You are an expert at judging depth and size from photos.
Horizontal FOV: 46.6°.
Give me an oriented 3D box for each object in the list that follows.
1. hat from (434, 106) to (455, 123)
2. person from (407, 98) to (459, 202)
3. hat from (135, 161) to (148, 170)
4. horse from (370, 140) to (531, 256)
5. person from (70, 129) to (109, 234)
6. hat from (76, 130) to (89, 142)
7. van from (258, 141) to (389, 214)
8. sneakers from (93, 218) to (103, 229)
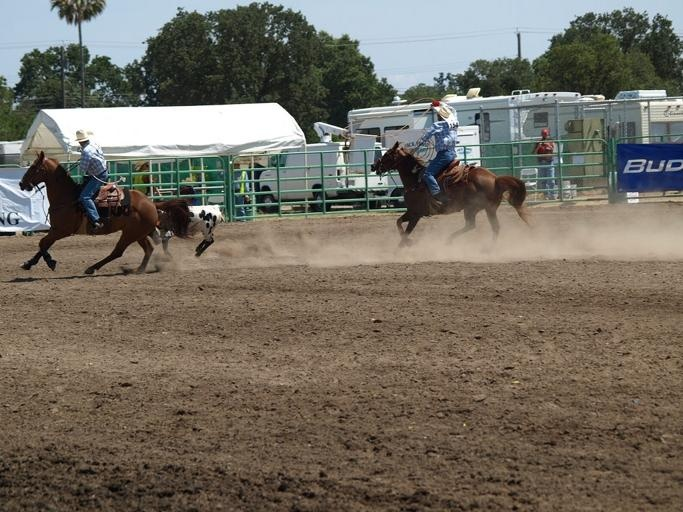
[{"bbox_3d":[1.839,-2.490,13.903,0.311,0.298,0.481,-2,5,9],"label":"hat"},{"bbox_3d":[1.695,-1.800,13.937,0.618,1.793,0.928,-1,6,24],"label":"person"},{"bbox_3d":[-5.480,-2.509,21.826,0.280,0.067,0.272,-25,-1,26],"label":"hat"},{"bbox_3d":[1.914,-1.069,14.200,3.056,1.561,0.651,0,9,-14],"label":"horse"},{"bbox_3d":[-3.778,-1.157,12.058,0.411,1.510,0.549,-5,6,-15],"label":"person"},{"bbox_3d":[-3.966,-1.815,12.023,0.219,0.074,0.187,6,35,37],"label":"hat"},{"bbox_3d":[-0.556,-2.422,23.293,3.615,2.214,4.632,-3,5,-10],"label":"van"},{"bbox_3d":[-3.678,-0.477,12.007,0.116,0.116,0.144,0,28,-3],"label":"sneakers"}]
